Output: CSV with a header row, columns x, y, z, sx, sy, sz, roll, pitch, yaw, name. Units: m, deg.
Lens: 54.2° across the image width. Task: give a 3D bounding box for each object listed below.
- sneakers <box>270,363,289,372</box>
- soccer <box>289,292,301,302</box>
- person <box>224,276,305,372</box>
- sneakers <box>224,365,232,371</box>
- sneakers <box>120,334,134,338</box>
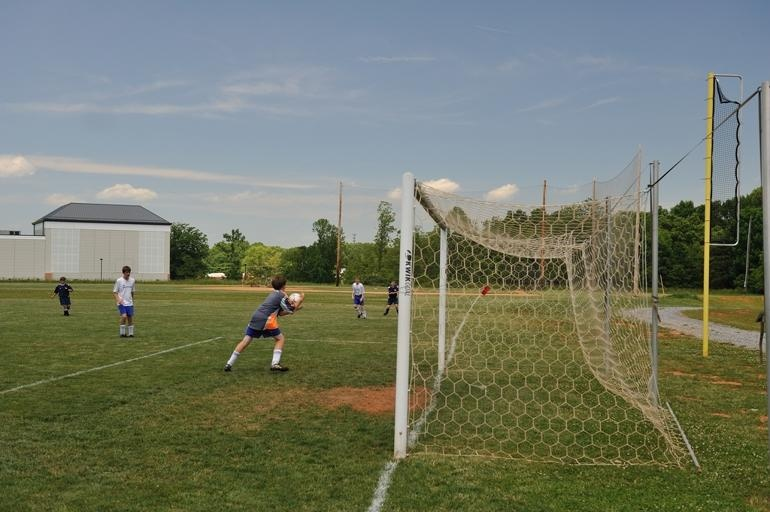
x,y,z,sx,sy,sz,roll,pitch,yaw,name
-2.430,2.590,17.335,0.450,0.176,0.153,0,-4,-11,sneakers
-2.074,0.964,17.216,0.249,0.188,0.502,1,-1,-29,soccer
-2.678,1.549,17.301,1.606,1.922,0.825,1,0,14,person
-3.583,2.583,17.301,0.106,0.146,0.162,3,1,-21,sneakers
-7.267,2.271,21.243,0.412,0.143,0.127,-2,-2,3,sneakers
